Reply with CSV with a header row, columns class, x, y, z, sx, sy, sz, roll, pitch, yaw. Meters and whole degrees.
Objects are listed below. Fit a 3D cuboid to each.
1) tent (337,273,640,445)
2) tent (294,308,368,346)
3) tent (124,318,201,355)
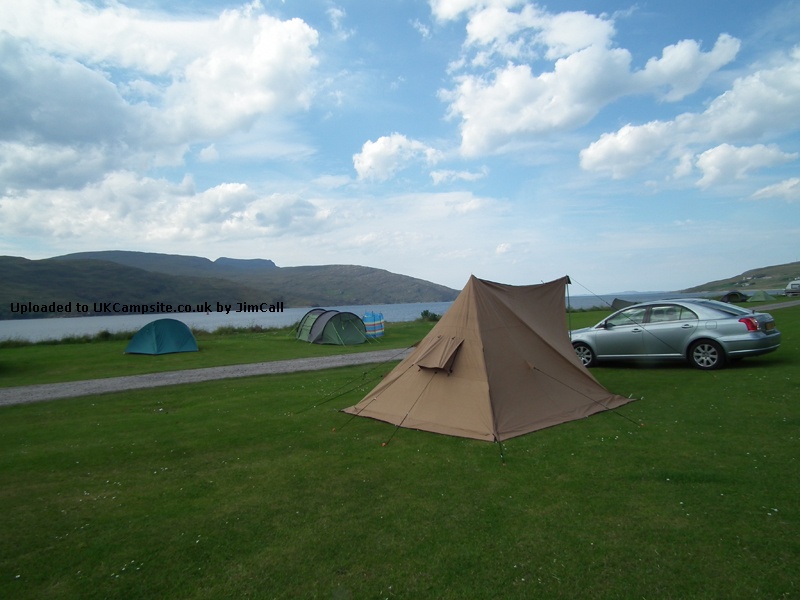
class,x,y,z,sx,sy,sz,roll,pitch,yaw
tent,2.504,1.432,11.695,4.342,1.991,4.238,-7,7,-40
tent,-4.317,1.664,30.619,2.438,1.093,3.022,-2,5,-31
tent,-12.081,2.005,25.804,2.225,1.167,2.302,-1,-1,30
